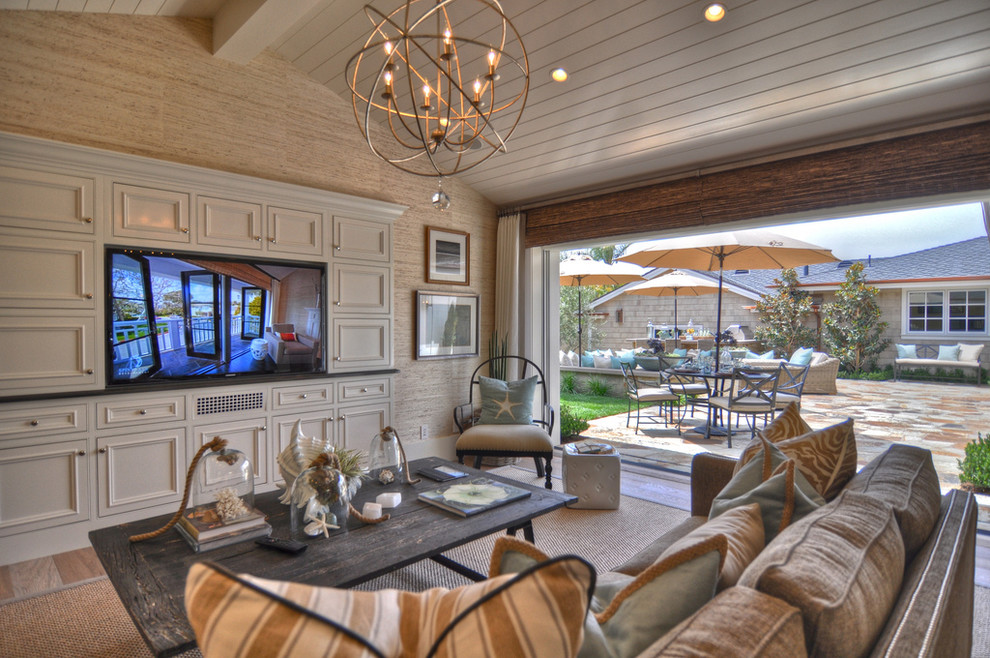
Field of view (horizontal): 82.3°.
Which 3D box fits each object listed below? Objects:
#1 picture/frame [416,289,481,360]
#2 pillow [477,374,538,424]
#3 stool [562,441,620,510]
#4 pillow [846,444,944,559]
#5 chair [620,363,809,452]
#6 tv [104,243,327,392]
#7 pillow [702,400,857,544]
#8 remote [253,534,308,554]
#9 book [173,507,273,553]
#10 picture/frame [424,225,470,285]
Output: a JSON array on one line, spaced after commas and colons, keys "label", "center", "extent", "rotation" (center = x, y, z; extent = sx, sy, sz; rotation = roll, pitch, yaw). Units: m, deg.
[{"label": "picture/frame", "center": [-0.503, -0.054, 5.833], "extent": [0.925, 0.622, 0.096], "rotation": [4, -6, -41]}, {"label": "pillow", "center": [0.129, 0.680, 5.511], "extent": [0.617, 0.413, 0.196], "rotation": [-1, -36, 3]}, {"label": "stool", "center": [0.789, 1.204, 4.757], "extent": [0.611, 0.467, 0.526], "rotation": [0, 0, 2]}, {"label": "pillow", "center": [1.788, 0.693, 2.461], "extent": [0.380, 0.215, 0.731], "rotation": [4, 8, 36]}, {"label": "chair", "center": [2.708, 0.758, 6.688], "extent": [1.592, 0.625, 1.573], "rotation": [0, -1, -43]}, {"label": "tv", "center": [-2.206, -0.096, 4.346], "extent": [1.556, 0.744, 0.152], "rotation": [-2, 2, -36]}, {"label": "pillow", "center": [1.330, 0.639, 2.847], "extent": [0.806, 0.610, 0.736], "rotation": [0, 2, -37]}, {"label": "remote", "center": [-1.093, 1.097, 2.904], "extent": [0.187, 0.024, 0.096], "rotation": [4, 4, 17]}, {"label": "book", "center": [-1.400, 1.035, 2.967], "extent": [0.292, 0.063, 0.296], "rotation": [-1, 4, -42]}, {"label": "picture/frame", "center": [-0.510, -0.778, 5.860], "extent": [0.807, 0.634, 0.060], "rotation": [3, -6, -43]}]
